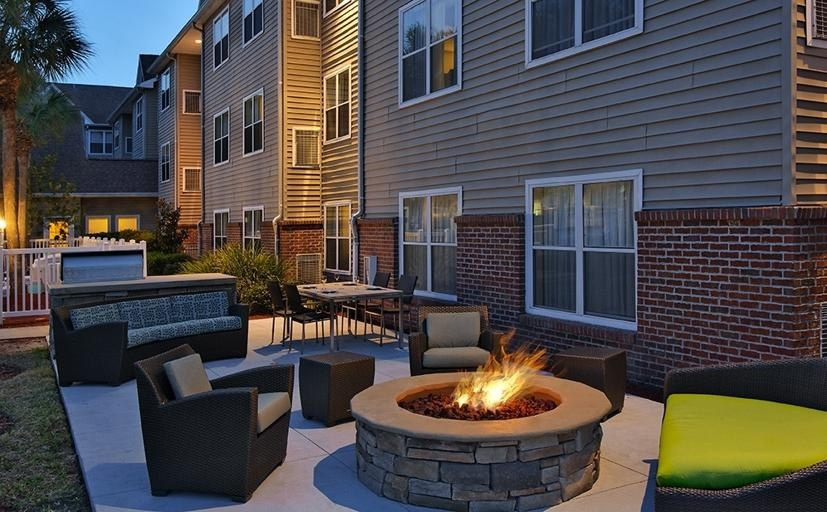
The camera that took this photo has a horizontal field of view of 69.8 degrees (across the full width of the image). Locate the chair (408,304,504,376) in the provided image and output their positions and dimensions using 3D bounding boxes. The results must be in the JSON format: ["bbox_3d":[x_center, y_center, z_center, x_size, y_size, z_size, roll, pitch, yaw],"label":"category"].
[{"bbox_3d":[0.639,1.347,9.117,1.344,1.167,1.001,-1,-3,-2],"label":"chair"}]

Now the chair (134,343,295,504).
[{"bbox_3d":[-2.273,1.882,7.015,1.825,1.385,1.746,0,1,-19],"label":"chair"}]

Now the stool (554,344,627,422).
[{"bbox_3d":[2.471,1.748,8.412,0.930,0.939,0.936,0,1,43],"label":"stool"}]

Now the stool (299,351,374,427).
[{"bbox_3d":[-1.094,1.849,8.371,1.008,0.866,0.846,1,2,-36],"label":"stool"}]
